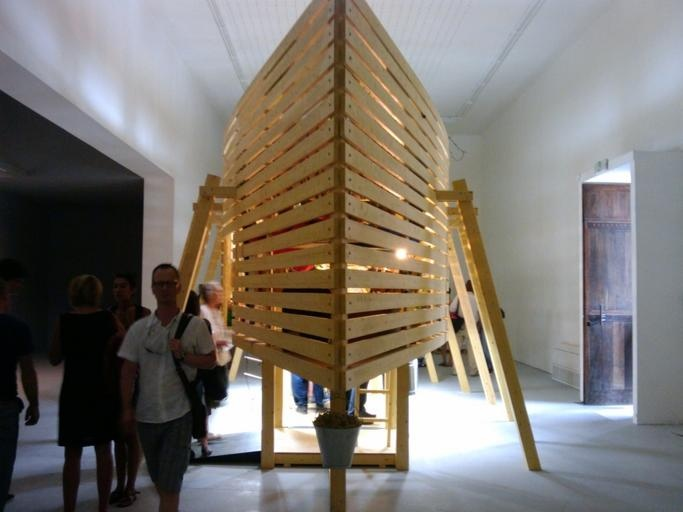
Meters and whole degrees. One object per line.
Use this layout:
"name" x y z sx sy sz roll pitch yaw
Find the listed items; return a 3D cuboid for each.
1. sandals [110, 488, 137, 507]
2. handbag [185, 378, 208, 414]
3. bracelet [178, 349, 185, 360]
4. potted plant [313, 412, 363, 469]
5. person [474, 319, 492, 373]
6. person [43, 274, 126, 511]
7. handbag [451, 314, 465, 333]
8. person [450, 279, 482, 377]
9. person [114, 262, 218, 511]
"sandals" -1.731 1.924 3.887 0.100 0.065 0.172 3 -7 -5
"handbag" -0.995 0.993 3.401 0.061 0.252 0.174 -5 6 -9
"bracelet" -1.082 0.677 3.330 0.044 0.047 0.046 1 -5 -4
"potted plant" -0.061 1.251 3.381 0.347 0.302 0.335 8 -10 -32
"person" 2.508 1.623 8.564 0.263 0.923 0.731 0 -1 17
"person" -1.921 1.048 3.680 0.506 1.797 0.241 1 -2 -20
"handbag" 2.068 1.237 8.948 0.275 0.311 0.338 0 -8 4
"person" 2.222 1.358 8.827 0.550 1.779 0.510 4 -24 11
"person" -1.208 0.878 3.391 0.641 1.637 0.281 0 -1 15
